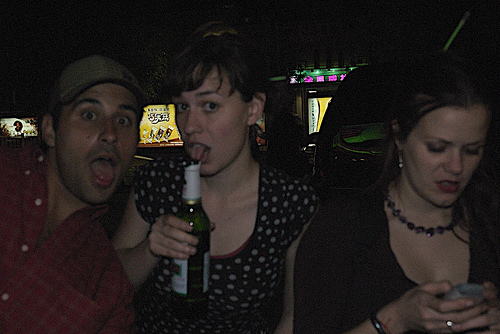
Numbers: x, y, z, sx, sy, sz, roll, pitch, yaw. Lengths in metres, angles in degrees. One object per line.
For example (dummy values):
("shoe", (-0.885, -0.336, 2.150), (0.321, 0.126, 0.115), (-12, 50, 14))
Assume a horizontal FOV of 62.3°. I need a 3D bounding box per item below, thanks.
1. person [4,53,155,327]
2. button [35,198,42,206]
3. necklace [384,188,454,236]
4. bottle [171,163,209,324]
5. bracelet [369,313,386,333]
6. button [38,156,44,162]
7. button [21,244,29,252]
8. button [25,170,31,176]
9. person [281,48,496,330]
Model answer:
("person", (-1.186, 0.177, 2.854), (0.925, 1.811, 0.832), (-4, 19, -12))
("button", (-1.412, 0.235, 2.773), (0.044, 0.040, 0.024), (-6, 19, -17))
("necklace", (1.290, 0.357, 3.182), (0.523, 0.313, 0.115), (5, 19, 16))
("bottle", (-0.376, 0.459, 2.595), (0.242, 1.002, 0.343), (-2, 18, -4))
("bracelet", (0.891, 1.093, 2.900), (0.042, 0.098, 0.085), (-15, -9, -17))
("button", (-1.452, -0.057, 2.883), (0.047, 0.033, 0.023), (2, 18, 8))
("button", (-1.457, 0.525, 2.682), (0.045, 0.042, 0.012), (6, -11, -10))
("button", (-1.508, 0.038, 2.819), (0.034, 0.028, 0.017), (-7, 19, -21))
("person", (1.109, 0.213, 3.112), (1.532, 2.078, 0.586), (1, 18, 5))
